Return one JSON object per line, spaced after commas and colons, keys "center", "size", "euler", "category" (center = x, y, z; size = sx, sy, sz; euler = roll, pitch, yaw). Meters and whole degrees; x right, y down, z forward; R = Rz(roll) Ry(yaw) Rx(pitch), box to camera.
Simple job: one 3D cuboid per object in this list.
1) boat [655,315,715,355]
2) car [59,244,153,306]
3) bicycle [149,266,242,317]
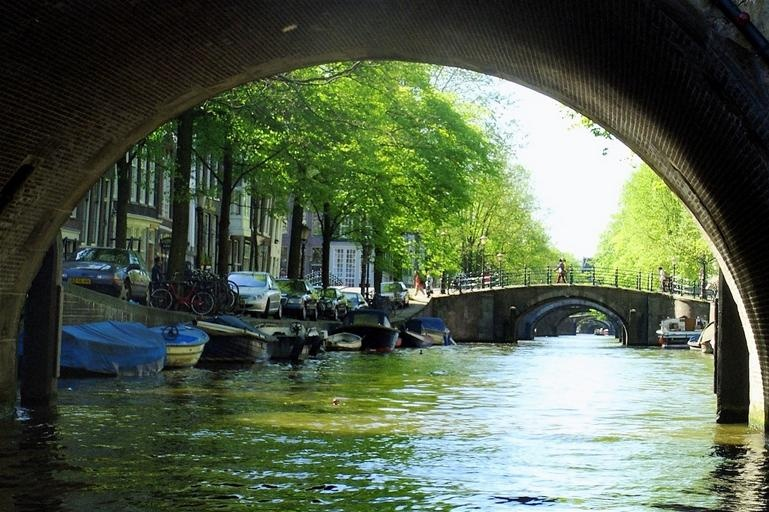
{"center": [21.348, 5.460, 53.851], "size": [2.034, 1.996, 4.940], "euler": [2, -4, -23], "category": "boat"}
{"center": [-8.509, 0.472, 23.159], "size": [2.865, 1.627, 1.791], "euler": [7, -9, -37], "category": "car"}
{"center": [-6.315, 1.238, 25.393], "size": [2.971, 1.389, 1.144], "euler": [5, -3, -19], "category": "bicycle"}
